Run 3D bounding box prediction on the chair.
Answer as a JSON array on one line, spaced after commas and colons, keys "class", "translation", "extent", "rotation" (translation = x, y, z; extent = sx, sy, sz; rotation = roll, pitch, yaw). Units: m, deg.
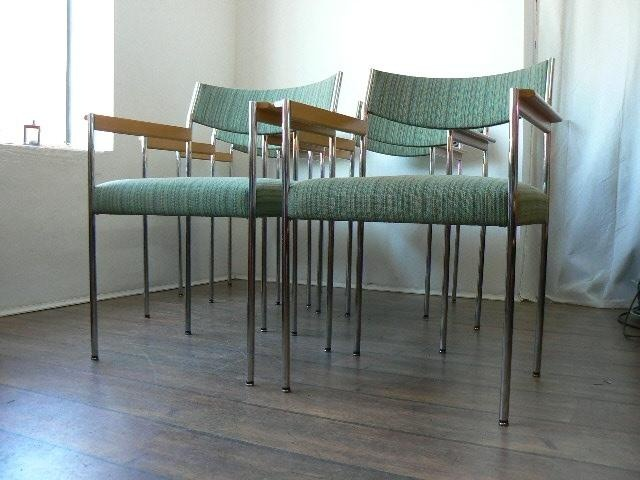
[{"class": "chair", "translation": [0.028, -0.090, 1.763], "extent": [1.405, 1.003, 0.743], "rotation": [3, 7, 22]}]
